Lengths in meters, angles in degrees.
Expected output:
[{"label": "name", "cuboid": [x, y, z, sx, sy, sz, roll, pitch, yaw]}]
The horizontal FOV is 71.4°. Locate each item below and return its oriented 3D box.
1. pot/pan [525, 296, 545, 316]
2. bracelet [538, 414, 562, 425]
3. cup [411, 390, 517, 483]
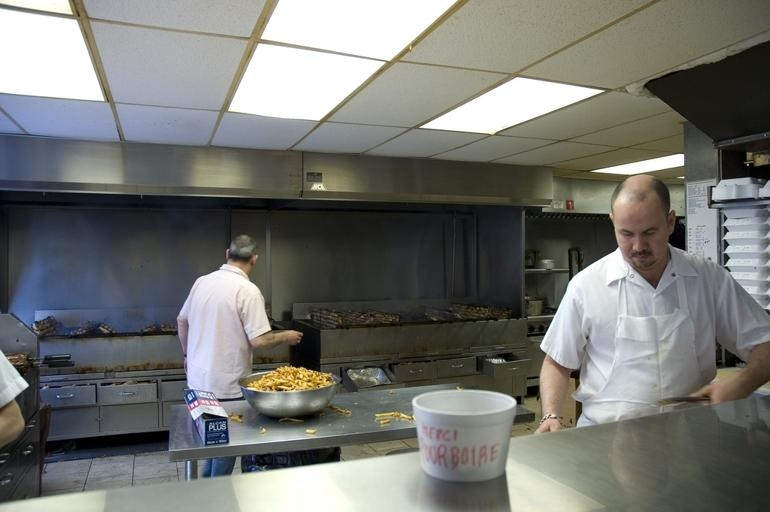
[{"label": "pot/pan", "cuboid": [2.006, 0.674, 7.262, 0.249, 0.211, 0.307, -1, -4, 1]}, {"label": "bracelet", "cuboid": [0.761, 0.747, 2.474, 0.095, 0.034, 0.102, 1, 11, 3]}, {"label": "cup", "cuboid": [0.252, 0.552, 1.714, 0.290, 0.171, 0.285, 0, -5, 0]}]
